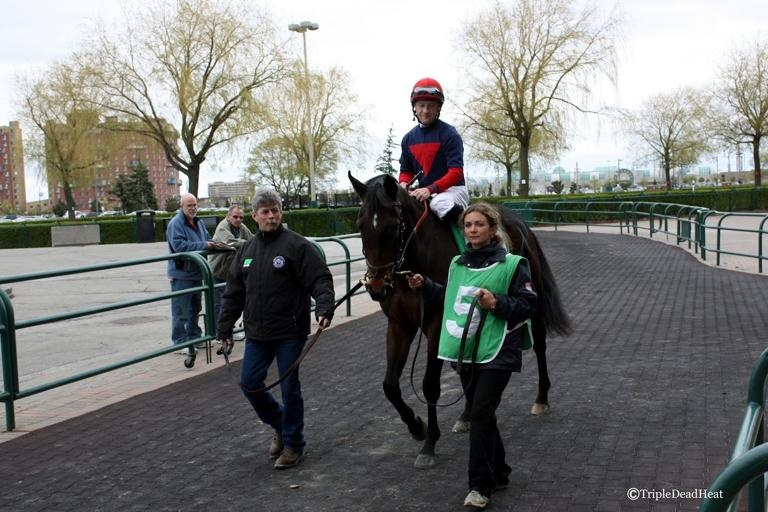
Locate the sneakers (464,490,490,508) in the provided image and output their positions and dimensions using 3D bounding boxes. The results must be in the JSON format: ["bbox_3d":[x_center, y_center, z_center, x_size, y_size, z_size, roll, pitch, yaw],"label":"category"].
[{"bbox_3d":[0.760,2.003,5.291,0.113,0.099,0.231,1,-2,14],"label":"sneakers"}]

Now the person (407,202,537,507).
[{"bbox_3d":[0.861,0.814,5.541,0.823,2.475,0.566,-7,8,-33],"label":"person"}]

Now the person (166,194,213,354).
[{"bbox_3d":[-2.925,0.242,9.678,0.681,2.256,1.436,-5,7,-18],"label":"person"}]

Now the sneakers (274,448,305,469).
[{"bbox_3d":[-0.918,1.938,6.218,0.124,0.155,0.319,-4,-8,41],"label":"sneakers"}]

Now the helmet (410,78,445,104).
[{"bbox_3d":[0.451,-1.698,6.737,0.326,0.244,0.402,-2,8,1],"label":"helmet"}]
